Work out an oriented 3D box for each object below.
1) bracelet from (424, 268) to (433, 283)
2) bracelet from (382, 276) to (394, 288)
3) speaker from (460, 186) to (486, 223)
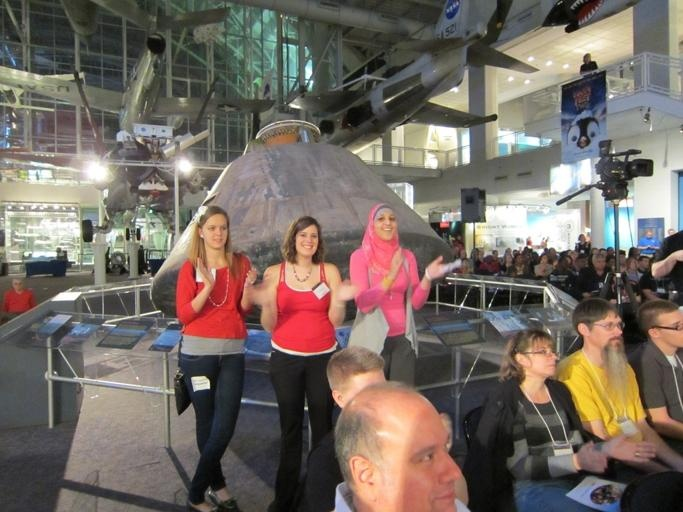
[{"bbox_3d":[0.607,0.137,3.681,0.059,0.080,0.068,4,14,26],"label":"bracelet"},{"bbox_3d":[0.299,0.171,3.480,0.063,0.068,0.064,-18,8,30],"label":"bracelet"},{"bbox_3d":[2.969,-1.174,11.924,0.517,0.745,0.748,0,3,13],"label":"speaker"}]
